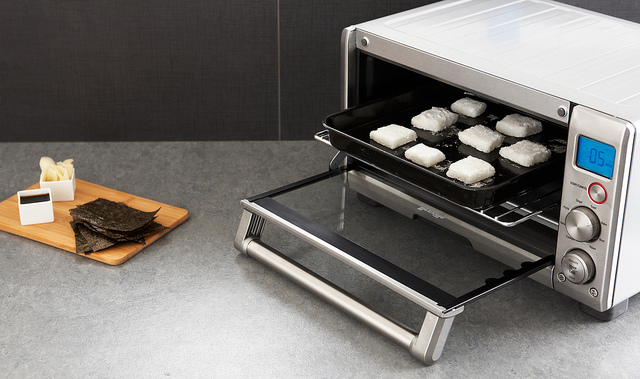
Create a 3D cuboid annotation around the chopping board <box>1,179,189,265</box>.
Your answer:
[{"bbox_3d":[-0.690,0.080,1.429,0.537,0.064,0.250,13,45,18],"label":"chopping board"}]

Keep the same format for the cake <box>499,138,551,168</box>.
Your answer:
[{"bbox_3d":[0.478,-0.086,1.124,0.081,0.030,0.087,-30,49,-25],"label":"cake"}]

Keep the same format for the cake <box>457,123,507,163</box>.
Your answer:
[{"bbox_3d":[0.380,-0.111,1.163,0.103,0.038,0.099,30,57,32],"label":"cake"}]

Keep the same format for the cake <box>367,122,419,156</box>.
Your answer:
[{"bbox_3d":[0.167,-0.119,1.198,0.105,0.027,0.100,16,12,-17],"label":"cake"}]

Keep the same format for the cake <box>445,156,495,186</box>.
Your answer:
[{"bbox_3d":[0.336,-0.044,1.087,0.094,0.033,0.068,-26,47,-22],"label":"cake"}]

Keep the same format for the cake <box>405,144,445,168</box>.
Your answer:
[{"bbox_3d":[0.243,-0.084,1.129,0.071,0.019,0.057,26,58,35],"label":"cake"}]
